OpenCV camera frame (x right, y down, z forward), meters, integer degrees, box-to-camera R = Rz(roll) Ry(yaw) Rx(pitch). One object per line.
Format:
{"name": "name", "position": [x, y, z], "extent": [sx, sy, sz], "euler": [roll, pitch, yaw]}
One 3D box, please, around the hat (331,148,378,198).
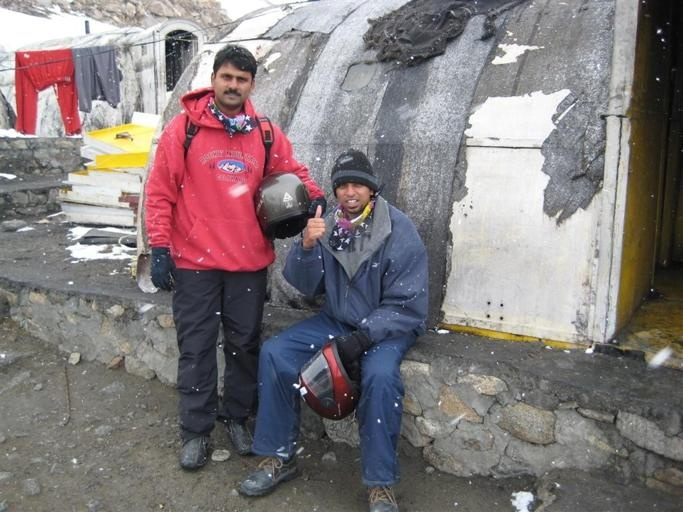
{"name": "hat", "position": [0.128, -0.672, 4.147], "extent": [0.341, 0.421, 0.446], "euler": [9, 15, 33]}

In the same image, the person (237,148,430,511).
{"name": "person", "position": [0.011, 0.487, 3.950], "extent": [1.120, 2.314, 0.971], "euler": [7, 17, 9]}

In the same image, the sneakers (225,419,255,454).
{"name": "sneakers", "position": [-0.788, 1.344, 4.337], "extent": [0.133, 0.174, 0.379], "euler": [-3, 17, -38]}

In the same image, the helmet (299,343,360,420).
{"name": "helmet", "position": [-0.060, 0.884, 3.961], "extent": [0.386, 0.507, 0.383], "euler": [-29, 60, -5]}

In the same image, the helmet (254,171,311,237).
{"name": "helmet", "position": [-0.466, -0.415, 4.250], "extent": [0.407, 0.515, 0.550], "euler": [-15, 0, -9]}

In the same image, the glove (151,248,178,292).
{"name": "glove", "position": [-1.264, 0.089, 3.999], "extent": [0.151, 0.337, 0.166], "euler": [1, 17, -12]}
